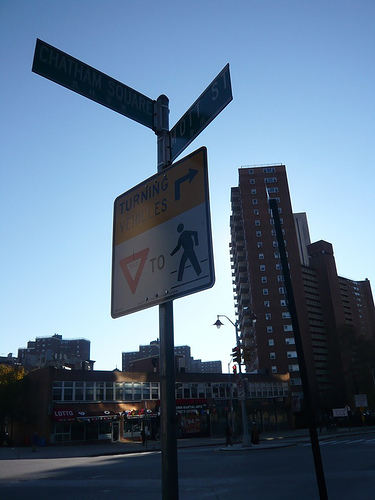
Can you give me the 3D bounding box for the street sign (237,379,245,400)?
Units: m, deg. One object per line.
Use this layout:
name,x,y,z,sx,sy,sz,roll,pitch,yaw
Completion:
street sign,3.866,9.972,29.089,0.344,1.466,1.246,-2,-20,-4

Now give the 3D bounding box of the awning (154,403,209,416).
awning,0.617,18.371,47.150,4.195,1.135,0.451,9,-22,-33

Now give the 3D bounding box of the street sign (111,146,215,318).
street sign,-0.134,-0.059,2.422,0.052,0.871,0.724,17,-32,-35

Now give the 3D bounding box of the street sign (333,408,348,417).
street sign,17.680,18.940,47.527,1.282,0.702,1.897,-18,-25,25

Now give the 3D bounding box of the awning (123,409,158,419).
awning,-5.159,17.690,43.844,2.581,1.351,0.804,3,3,-8
